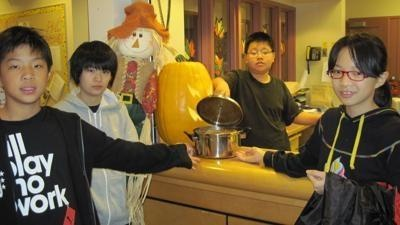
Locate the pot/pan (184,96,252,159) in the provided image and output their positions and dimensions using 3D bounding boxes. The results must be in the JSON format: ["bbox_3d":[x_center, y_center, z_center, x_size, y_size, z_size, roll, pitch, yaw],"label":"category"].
[{"bbox_3d":[0.134,0.110,2.151,0.503,0.398,0.342,0,6,3],"label":"pot/pan"}]

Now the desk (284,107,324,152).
[{"bbox_3d":[0.892,0.143,2.694,0.190,0.175,0.573,5,16,28],"label":"desk"}]

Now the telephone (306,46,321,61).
[{"bbox_3d":[2.081,-1.086,5.589,0.288,0.235,0.066,3,8,3],"label":"telephone"}]
